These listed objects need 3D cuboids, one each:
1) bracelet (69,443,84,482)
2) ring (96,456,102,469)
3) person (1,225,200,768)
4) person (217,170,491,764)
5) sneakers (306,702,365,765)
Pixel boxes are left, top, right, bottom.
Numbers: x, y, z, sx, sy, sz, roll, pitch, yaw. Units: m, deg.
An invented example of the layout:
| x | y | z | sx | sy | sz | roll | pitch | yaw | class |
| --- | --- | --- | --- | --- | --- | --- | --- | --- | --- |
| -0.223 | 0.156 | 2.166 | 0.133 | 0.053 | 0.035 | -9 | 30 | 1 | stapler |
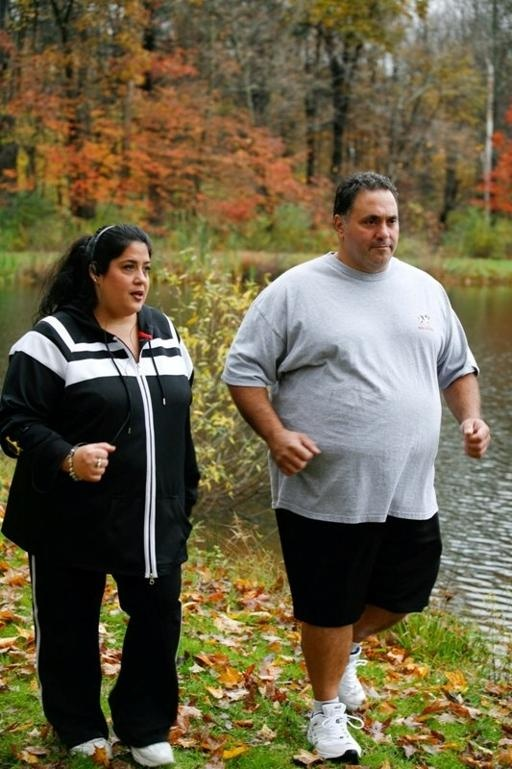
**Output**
| x | y | z | sx | sy | sz | roll | pitch | yaw | class |
| --- | --- | --- | --- | --- | --- | --- | --- | --- | --- |
| -0.498 | 0.226 | 2.215 | 0.034 | 0.079 | 0.067 | -2 | 15 | -6 | bracelet |
| -0.434 | 0.216 | 2.170 | 0.015 | 0.028 | 0.007 | 4 | 7 | -5 | ring |
| -0.473 | 0.365 | 2.434 | 0.628 | 1.709 | 0.494 | 3 | 8 | -13 | person |
| 0.355 | 0.387 | 2.718 | 0.900 | 1.744 | 0.445 | 1 | 8 | -23 | person |
| 0.248 | 1.156 | 2.629 | 0.121 | 0.110 | 0.267 | 3 | -9 | -14 | sneakers |
